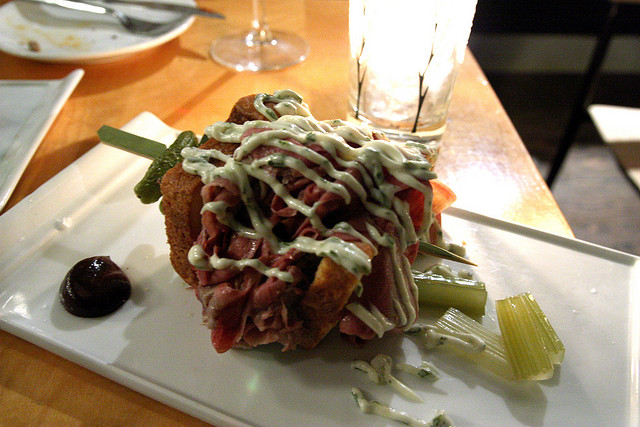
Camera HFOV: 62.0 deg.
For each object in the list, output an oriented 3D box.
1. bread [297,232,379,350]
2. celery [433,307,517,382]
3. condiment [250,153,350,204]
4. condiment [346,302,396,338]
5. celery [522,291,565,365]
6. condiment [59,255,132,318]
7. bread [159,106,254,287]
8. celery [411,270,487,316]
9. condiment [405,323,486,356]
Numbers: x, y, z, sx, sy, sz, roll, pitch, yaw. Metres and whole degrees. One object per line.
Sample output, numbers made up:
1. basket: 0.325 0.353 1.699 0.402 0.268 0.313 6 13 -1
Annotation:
1. bread: 0.020 0.193 1.488 0.280 0.259 0.224 8 24 2
2. celery: 0.437 0.361 1.472 0.217 0.054 0.123 22 57 18
3. condiment: -0.049 -0.090 1.398 0.334 0.058 0.116 15 86 -4
4. condiment: 0.143 0.284 1.425 0.129 0.036 0.080 32 37 14
5. celery: 0.623 0.320 1.469 0.044 0.150 0.147 -24 38 29
6. condiment: -0.657 0.218 1.540 0.186 0.077 0.179 -35 56 -28
7. bread: -0.359 -0.035 1.605 0.267 0.427 0.205 16 30 15
8. celery: 0.368 0.234 1.577 0.239 0.071 0.068 7 12 -1
9. condiment: 0.352 0.350 1.473 0.228 0.076 0.052 6 86 7
